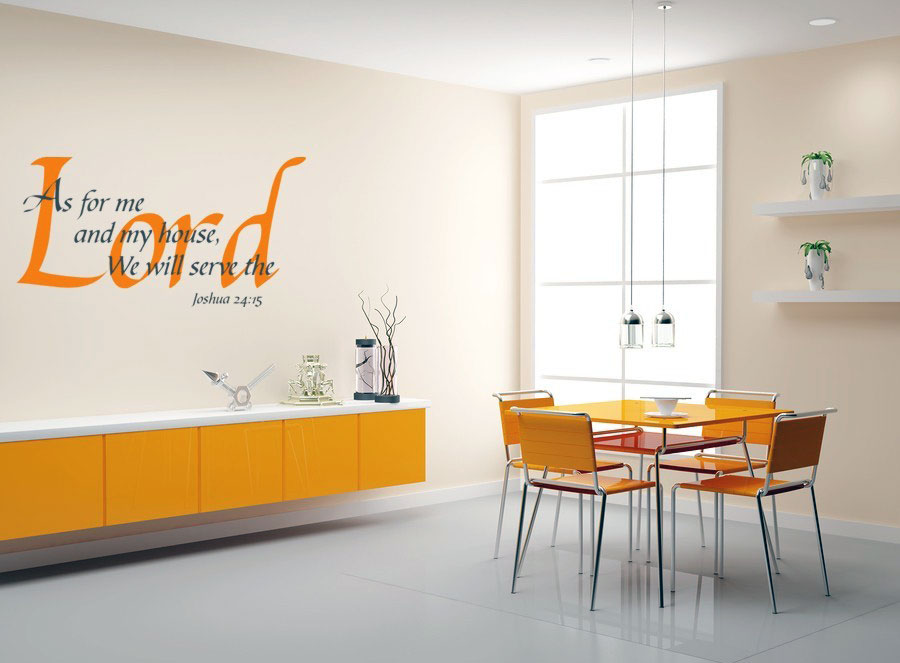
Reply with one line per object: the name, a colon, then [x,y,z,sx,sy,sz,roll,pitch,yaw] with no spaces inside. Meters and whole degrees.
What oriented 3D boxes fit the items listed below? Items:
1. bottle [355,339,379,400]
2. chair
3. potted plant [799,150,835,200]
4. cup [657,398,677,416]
bottle: [-0.687,0.307,5.281,0.256,0.474,0.132,-1,-1,30]
chair: [1.335,0.960,4.092,1.925,1.060,1.587,0,-2,3]
potted plant: [2.768,-1.179,5.002,0.219,0.410,0.195,-1,-1,28]
cup: [1.246,0.428,3.789,0.101,0.071,0.099,-1,2,0]
